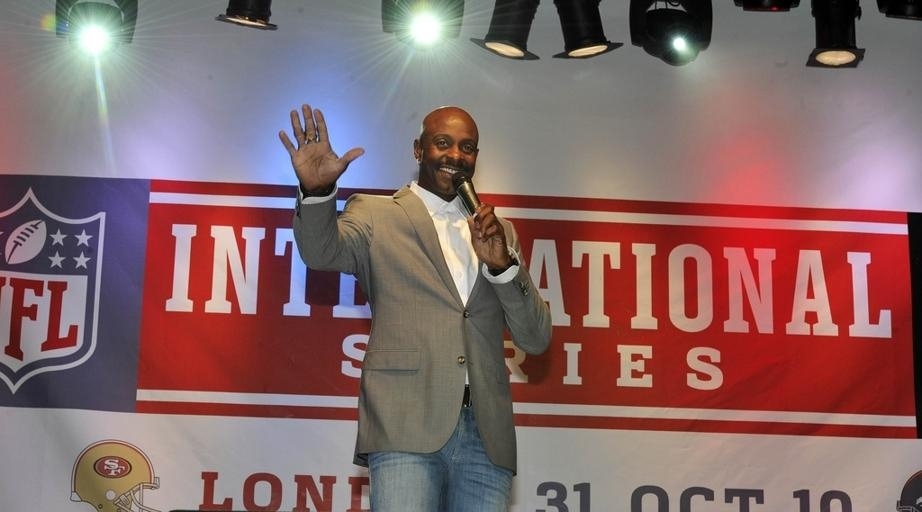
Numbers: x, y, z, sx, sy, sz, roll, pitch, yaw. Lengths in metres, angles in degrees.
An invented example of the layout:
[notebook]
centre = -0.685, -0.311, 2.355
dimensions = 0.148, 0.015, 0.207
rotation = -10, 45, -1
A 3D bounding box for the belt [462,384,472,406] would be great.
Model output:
[belt]
centre = 0.045, 0.759, 4.974
dimensions = 0.044, 0.115, 0.054
rotation = 0, -25, 0

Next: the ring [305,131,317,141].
[ring]
centre = -0.819, -0.668, 5.048
dimensions = 0.048, 0.047, 0.019
rotation = 1, -15, -10
